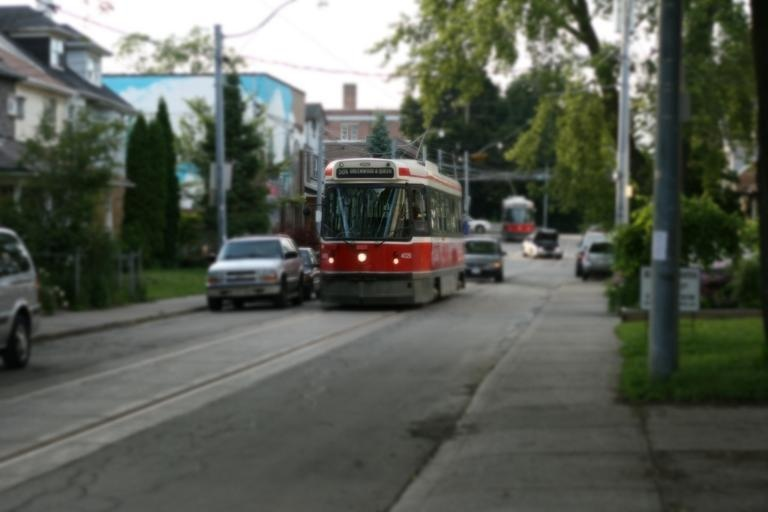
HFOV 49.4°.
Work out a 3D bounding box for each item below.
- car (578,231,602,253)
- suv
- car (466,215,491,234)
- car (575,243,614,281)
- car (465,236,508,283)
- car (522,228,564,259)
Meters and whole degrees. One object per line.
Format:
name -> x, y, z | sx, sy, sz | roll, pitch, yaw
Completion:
car -> 9.852, -0.593, 39.735 | 0.910, 0.892, 1.614 | 1, 8, 9
suv -> -3.966, 0.513, 25.514 | 2.565, 2.152, 2.783 | -2, 4, -2
car -> 10.216, -3.213, 91.137 | 3.321, 1.819, 2.014 | -4, 7, -4
car -> 9.460, 0.384, 37.372 | 1.666, 1.771, 3.923 | 0, 5, 10
car -> 4.452, 0.200, 37.381 | 1.631, 1.849, 1.897 | -2, 4, 4
car -> 11.211, -0.831, 59.722 | 1.390, 1.607, 3.544 | 0, -2, 3
